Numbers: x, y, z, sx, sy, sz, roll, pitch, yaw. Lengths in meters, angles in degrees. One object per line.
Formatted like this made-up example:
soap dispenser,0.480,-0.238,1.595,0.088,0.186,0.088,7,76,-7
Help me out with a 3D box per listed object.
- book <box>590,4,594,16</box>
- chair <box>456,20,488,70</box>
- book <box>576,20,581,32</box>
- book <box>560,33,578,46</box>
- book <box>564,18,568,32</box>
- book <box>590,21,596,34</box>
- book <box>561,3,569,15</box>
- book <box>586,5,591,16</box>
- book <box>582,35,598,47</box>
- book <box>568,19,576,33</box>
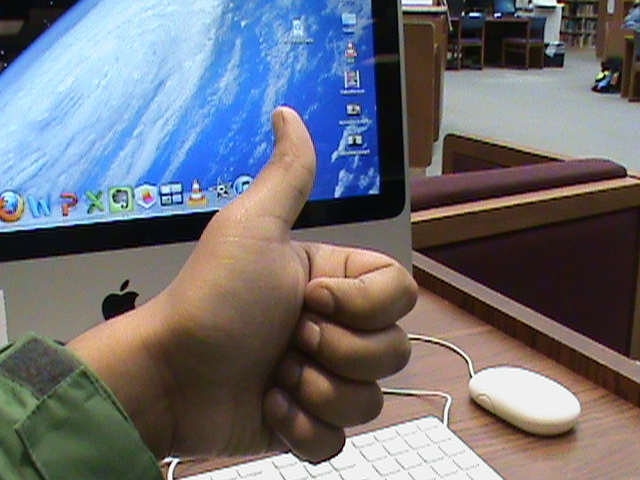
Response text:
book,5.684,-4.822,13.256,0.094,0.222,0.041,-3,19,-7
chair,2.614,-3.484,10.997,0.505,0.950,0.533,17,27,39
book,5.478,-4.538,13.410,0.133,0.222,0.130,3,13,31
book,5.312,-4.218,13.509,0.275,0.378,0.256,5,31,8
book,5.174,-4.533,13.333,0.113,0.275,0.058,-12,22,-29
book,5.737,-4.485,13.350,0.129,0.254,0.059,11,22,30
book,5.151,-4.839,13.299,0.177,0.228,0.055,-6,10,-8
book,5.617,-4.816,13.275,0.128,0.171,0.036,-7,1,4
book,5.748,-4.265,13.536,0.266,0.265,0.235,15,26,34
book,5.325,-4.530,13.400,0.181,0.245,0.053,-2,5,-2
